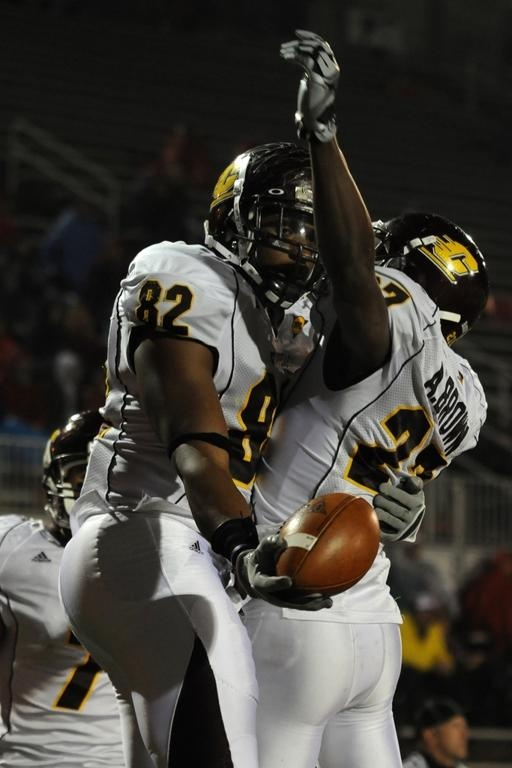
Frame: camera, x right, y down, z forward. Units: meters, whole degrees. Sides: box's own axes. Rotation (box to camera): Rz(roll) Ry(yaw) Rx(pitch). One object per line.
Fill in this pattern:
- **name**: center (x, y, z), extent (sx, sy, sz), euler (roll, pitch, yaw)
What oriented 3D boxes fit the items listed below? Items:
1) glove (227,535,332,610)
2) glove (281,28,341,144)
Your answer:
- **glove**: center (0.018, 0.252, 1.128), extent (0.136, 0.060, 0.101), euler (14, 28, 28)
- **glove**: center (0.083, -0.477, 1.350), extent (0.091, 0.215, 0.155), euler (1, 3, 3)
